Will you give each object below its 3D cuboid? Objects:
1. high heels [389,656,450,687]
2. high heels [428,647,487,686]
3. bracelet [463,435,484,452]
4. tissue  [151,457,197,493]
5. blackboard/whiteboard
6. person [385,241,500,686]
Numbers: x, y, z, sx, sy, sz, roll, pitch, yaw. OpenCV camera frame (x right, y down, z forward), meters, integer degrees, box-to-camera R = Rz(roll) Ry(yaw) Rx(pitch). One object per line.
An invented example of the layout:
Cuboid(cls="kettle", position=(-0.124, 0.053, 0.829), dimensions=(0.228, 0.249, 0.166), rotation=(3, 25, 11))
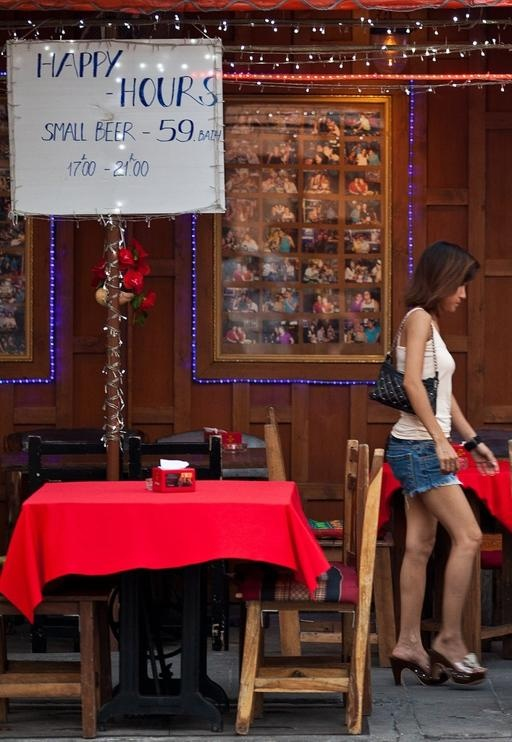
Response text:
Cuboid(cls="high heels", position=(0.684, 1.186, 3.600), dimensions=(0.295, 0.119, 0.102), rotation=(-3, -5, 20))
Cuboid(cls="high heels", position=(0.767, 1.127, 3.493), dimensions=(0.204, 0.081, 0.118), rotation=(-2, -8, 37))
Cuboid(cls="bracelet", position=(0.882, 0.301, 3.714), dimensions=(0.073, 0.035, 0.053), rotation=(-33, 8, -1))
Cuboid(cls="tissue ", position=(-0.303, 0.388, 3.348), dimensions=(0.130, 0.117, 0.122), rotation=(4, -6, -38))
Cuboid(cls="blackboard/whiteboard", position=(-0.610, -1.067, 4.074), dimensions=(0.839, 0.673, 0.121), rotation=(-1, -2, 1))
Cuboid(cls="person", position=(0.723, 0.361, 3.615), dimensions=(0.423, 1.776, 0.540), rotation=(-1, -4, 14))
